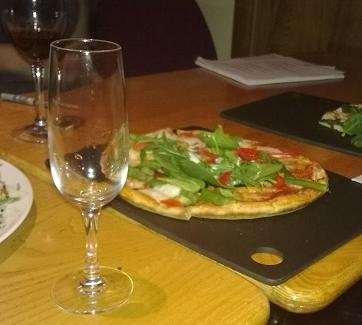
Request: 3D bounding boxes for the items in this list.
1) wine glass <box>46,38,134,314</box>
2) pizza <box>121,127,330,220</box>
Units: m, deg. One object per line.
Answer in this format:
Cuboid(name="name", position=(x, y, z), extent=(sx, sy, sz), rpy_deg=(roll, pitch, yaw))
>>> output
Cuboid(name="wine glass", position=(-0.069, 0.018, 0.244), extent=(0.065, 0.199, 0.073), rpy_deg=(-4, 24, -15))
Cuboid(name="pizza", position=(0.063, 0.023, 0.446), extent=(0.218, 0.032, 0.164), rpy_deg=(4, 23, 4))
